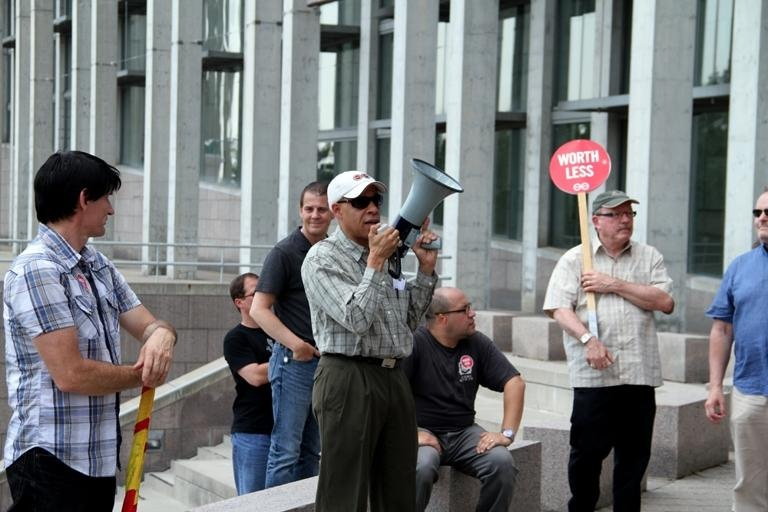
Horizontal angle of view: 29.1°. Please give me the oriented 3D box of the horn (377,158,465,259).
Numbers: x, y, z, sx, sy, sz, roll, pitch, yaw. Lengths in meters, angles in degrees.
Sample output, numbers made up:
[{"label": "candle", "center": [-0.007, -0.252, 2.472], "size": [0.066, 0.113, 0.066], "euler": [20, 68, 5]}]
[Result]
[{"label": "horn", "center": [0.446, -0.501, 19.257], "size": [0.881, 1.246, 0.680], "euler": [38, 19, 17]}]
